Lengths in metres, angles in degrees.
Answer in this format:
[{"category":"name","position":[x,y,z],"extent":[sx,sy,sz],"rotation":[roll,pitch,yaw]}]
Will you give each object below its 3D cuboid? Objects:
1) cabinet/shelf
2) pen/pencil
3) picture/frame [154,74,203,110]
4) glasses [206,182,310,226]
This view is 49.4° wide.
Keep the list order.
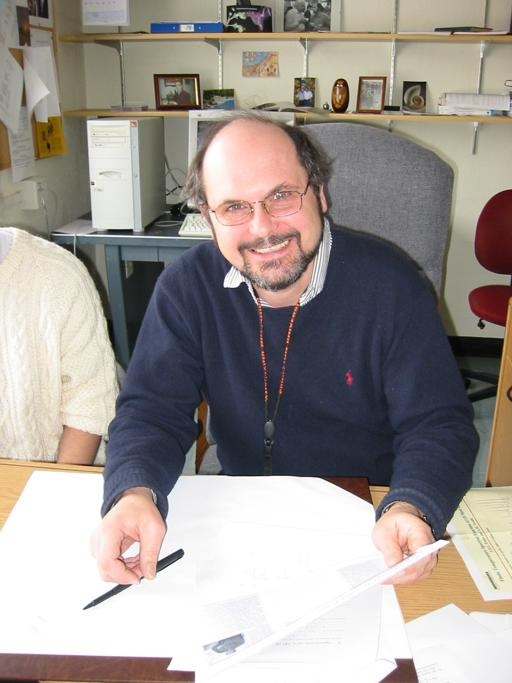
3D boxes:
[{"category":"cabinet/shelf","position":[0.170,-1.251,2.650],"extent":[2.034,0.411,0.392],"rotation":[4,22,3]},{"category":"pen/pencil","position":[-0.136,0.264,0.616],"extent":[0.012,0.011,0.112],"rotation":[11,23,38]},{"category":"picture/frame","position":[-0.380,-1.208,2.691],"extent":[0.229,0.179,0.017],"rotation":[-3,6,-10]},{"category":"glasses","position":[0.008,-0.224,0.927],"extent":[0.147,0.066,0.047],"rotation":[4,22,3]}]
